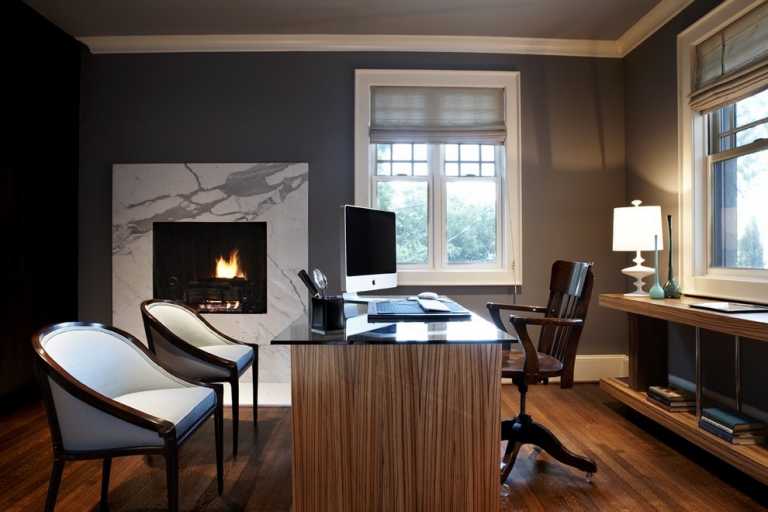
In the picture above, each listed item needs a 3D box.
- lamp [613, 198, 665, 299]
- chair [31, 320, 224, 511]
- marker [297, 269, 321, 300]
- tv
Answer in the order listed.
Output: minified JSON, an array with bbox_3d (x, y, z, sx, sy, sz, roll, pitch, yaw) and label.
[{"bbox_3d":[2.325,-0.096,5.162,0.404,0.848,0.639,1,4,26],"label":"lamp"},{"bbox_3d":[-1.779,1.210,4.319,1.186,1.718,1.307,-1,-3,7],"label":"chair"},{"bbox_3d":[-0.599,0.229,4.415,0.059,0.320,0.053,-27,13,5],"label":"marker"},{"bbox_3d":[-0.134,-0.028,4.590,0.082,0.756,0.858,-2,-4,28],"label":"tv"}]
